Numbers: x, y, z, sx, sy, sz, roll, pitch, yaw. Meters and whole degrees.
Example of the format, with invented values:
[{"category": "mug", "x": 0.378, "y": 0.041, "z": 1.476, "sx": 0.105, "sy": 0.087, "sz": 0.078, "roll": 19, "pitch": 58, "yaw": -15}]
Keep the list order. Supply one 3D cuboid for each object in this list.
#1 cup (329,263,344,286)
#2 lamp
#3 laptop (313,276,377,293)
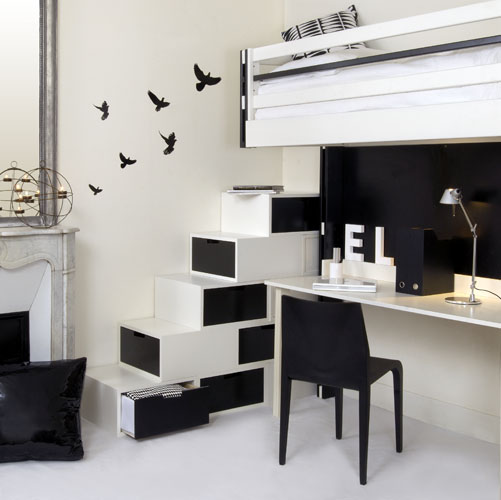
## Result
[{"category": "cup", "x": 0.444, "y": 0.120, "z": 2.624, "sx": 0.073, "sy": 0.167, "sz": 0.112, "roll": 1, "pitch": -2, "yaw": -4}, {"category": "lamp", "x": 0.949, "y": -0.039, "z": 2.330, "sx": 0.163, "sy": 0.519, "sz": 0.473, "roll": 1, "pitch": 2, "yaw": 22}, {"category": "laptop", "x": 0.459, "y": 0.171, "z": 2.554, "sx": 0.304, "sy": 0.045, "sz": 0.288, "roll": 1, "pitch": 2, "yaw": 11}]
